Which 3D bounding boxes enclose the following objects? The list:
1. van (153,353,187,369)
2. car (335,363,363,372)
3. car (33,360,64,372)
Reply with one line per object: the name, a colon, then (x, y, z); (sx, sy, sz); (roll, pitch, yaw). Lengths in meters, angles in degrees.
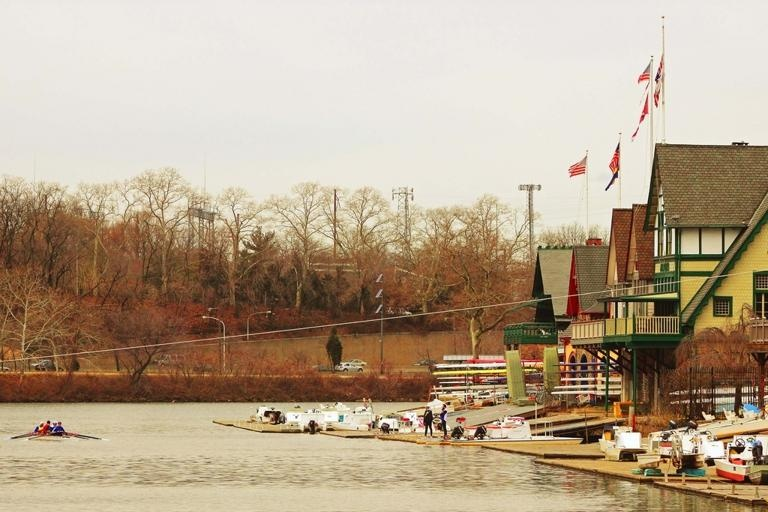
van: (-24.004, 11.947, 206.373); (2.092, 0.979, 2.893); (1, 0, 25)
car: (-3.630, 13.255, 215.314); (2.398, 0.823, 1.248); (-3, 4, -7)
car: (-37.772, 12.219, 202.141); (1.918, 0.929, 2.775); (3, -2, -32)
